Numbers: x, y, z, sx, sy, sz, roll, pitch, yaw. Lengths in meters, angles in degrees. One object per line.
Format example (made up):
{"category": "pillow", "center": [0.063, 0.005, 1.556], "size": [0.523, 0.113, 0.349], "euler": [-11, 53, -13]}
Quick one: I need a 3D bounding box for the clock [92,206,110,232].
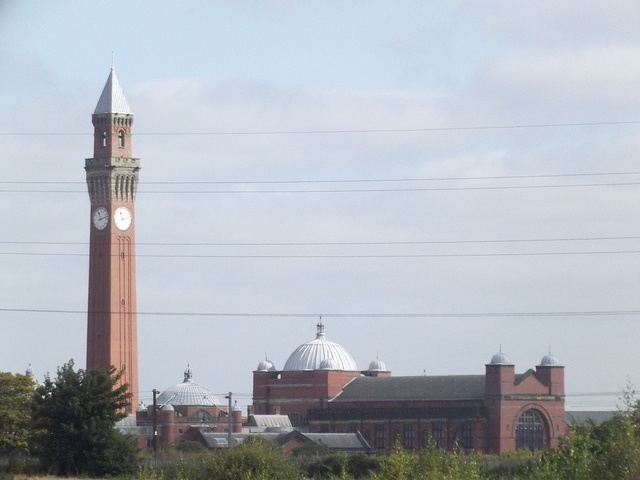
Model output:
{"category": "clock", "center": [-20.495, -2.132, 201.790], "size": [0.952, 2.139, 1.888], "euler": [9, -14, -38]}
